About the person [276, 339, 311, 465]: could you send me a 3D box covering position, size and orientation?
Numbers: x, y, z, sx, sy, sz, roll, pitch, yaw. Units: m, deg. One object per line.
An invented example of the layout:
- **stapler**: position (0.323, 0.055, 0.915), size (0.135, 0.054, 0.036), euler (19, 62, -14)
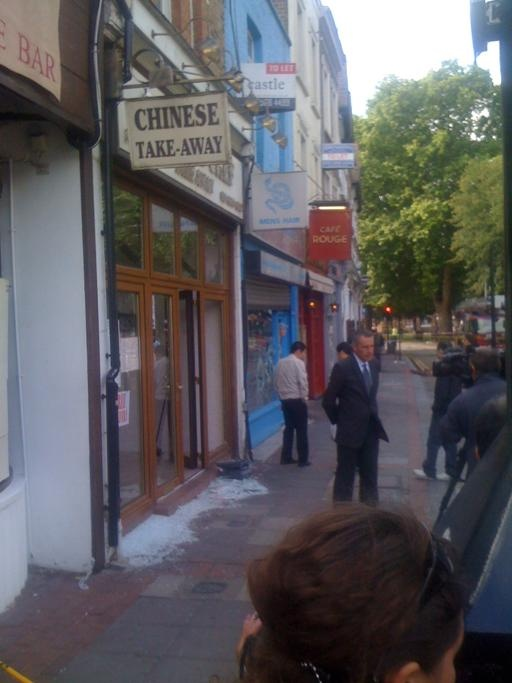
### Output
- **person**: position (0.449, 0.833, 9.521), size (0.426, 1.321, 0.581), euler (0, 1, 1)

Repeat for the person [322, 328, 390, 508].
- **person**: position (0.843, 0.644, 6.551), size (0.541, 1.472, 0.503), euler (0, 1, 0)

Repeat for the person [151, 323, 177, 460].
- **person**: position (-0.904, 0.480, 7.257), size (0.157, 1.382, 0.411), euler (0, 1, 14)

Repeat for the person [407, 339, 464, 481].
- **person**: position (2.374, 0.897, 10.327), size (0.415, 1.954, 1.318), euler (2, 0, 26)
